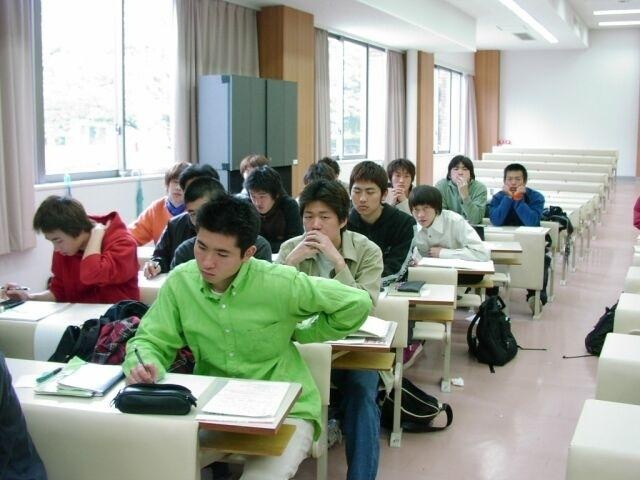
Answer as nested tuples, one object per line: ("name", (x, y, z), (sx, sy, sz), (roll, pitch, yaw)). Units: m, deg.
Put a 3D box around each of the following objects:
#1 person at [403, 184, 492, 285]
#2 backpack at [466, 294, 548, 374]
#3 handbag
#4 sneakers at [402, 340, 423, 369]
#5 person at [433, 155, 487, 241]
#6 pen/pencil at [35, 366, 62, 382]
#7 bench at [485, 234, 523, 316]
("person", (1.025, -0.055, 4.455), (0.801, 0.896, 0.505), (-1, 13, 38))
("backpack", (1.387, 0.716, 4.082), (0.462, 0.373, 0.471), (-1, 13, 16))
("handbag", (0.579, 1.015, 3.153), (0.378, 0.168, 0.292), (8, 5, 2))
("sneakers", (0.614, 0.771, 3.503), (0.114, 0.152, 0.357), (-1, 7, 19))
("person", (1.585, -0.308, 5.974), (0.501, 1.310, 0.709), (9, 19, 32))
("pen/pencil", (-1.049, 0.521, 2.022), (0.021, 0.026, 0.083), (-1, 10, 23))
("bench", (1.669, 0.295, 4.731), (0.586, 0.667, 0.492), (1, 3, 23))
